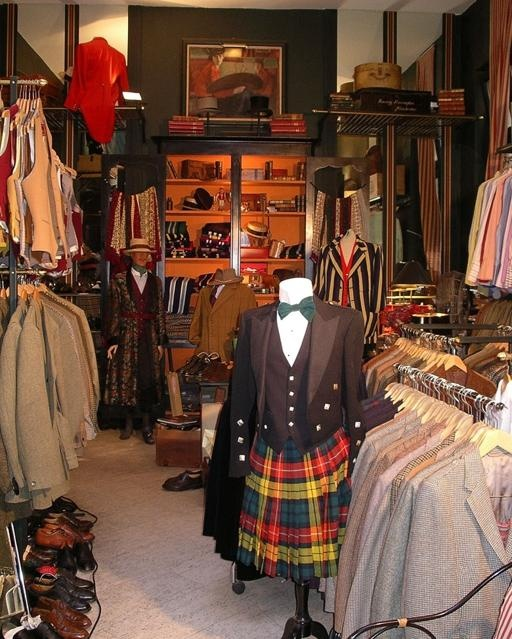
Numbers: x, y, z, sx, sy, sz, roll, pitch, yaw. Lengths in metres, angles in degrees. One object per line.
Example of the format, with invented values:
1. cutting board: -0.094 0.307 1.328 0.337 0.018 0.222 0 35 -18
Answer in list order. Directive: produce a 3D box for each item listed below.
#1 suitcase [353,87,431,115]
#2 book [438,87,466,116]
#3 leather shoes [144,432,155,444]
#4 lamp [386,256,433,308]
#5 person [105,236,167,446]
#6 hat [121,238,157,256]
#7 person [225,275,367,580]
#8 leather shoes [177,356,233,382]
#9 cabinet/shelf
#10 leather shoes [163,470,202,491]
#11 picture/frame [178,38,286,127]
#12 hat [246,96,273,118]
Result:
1. suitcase: 1.290 -2.064 5.306 0.757 0.181 0.142 2 1 -1
2. book: 1.878 -2.086 5.476 0.317 0.329 0.242 1 18 3
3. leather shoes: -0.943 1.029 4.869 0.080 0.085 0.143 2 1 -15
4. lamp: 1.397 -0.283 4.976 0.341 0.507 0.365 4 9 34
5. person: -1.075 0.174 5.097 0.493 1.777 0.611 2 1 7
6. hat: -1.076 -0.651 4.991 0.195 0.089 0.225 -2 -1 -6
7. person: 0.118 0.351 1.756 0.422 0.960 0.272 2 1 3
8. leather shoes: -0.380 0.351 4.018 0.247 0.104 0.308 -4 -6 31
9. cabinet/shelf: -0.253 -0.943 5.317 1.790 2.337 0.658 0 2 -6
10. leather shoes: -0.492 1.065 3.723 0.202 0.085 0.121 5 -9 -34
11. picture/frame: -0.281 -2.474 5.816 1.006 0.810 0.082 1 2 -4
12. hat: 0.040 -2.118 5.597 0.246 0.131 0.252 8 19 15
